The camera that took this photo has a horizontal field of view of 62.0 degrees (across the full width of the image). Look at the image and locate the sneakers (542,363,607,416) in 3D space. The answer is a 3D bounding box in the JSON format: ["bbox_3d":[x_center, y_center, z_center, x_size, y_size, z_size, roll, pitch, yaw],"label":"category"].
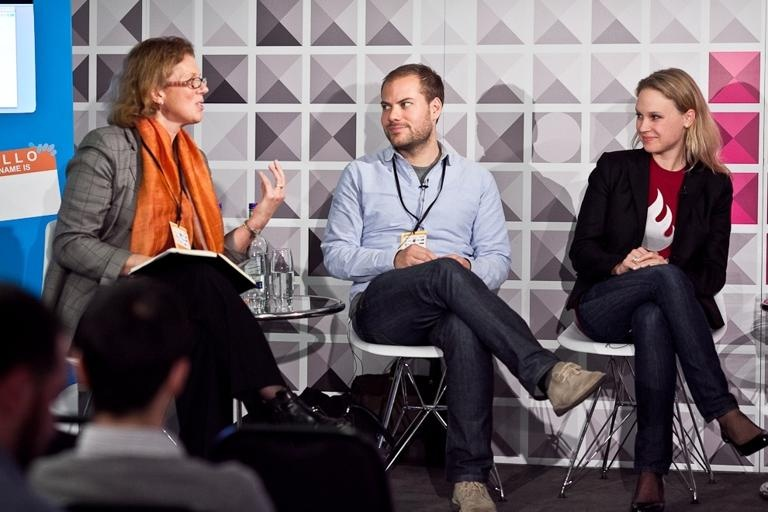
[{"bbox_3d":[0.713,0.495,2.391,0.146,0.108,0.232,-50,18,-27],"label":"sneakers"}]

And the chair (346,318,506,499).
[{"bbox_3d":[0.183,0.656,3.306,0.799,1.144,0.697,-1,-1,15],"label":"chair"}]

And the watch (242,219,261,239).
[{"bbox_3d":[-0.625,-0.140,2.976,0.083,0.038,0.074,48,10,34],"label":"watch"}]

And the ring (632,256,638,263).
[{"bbox_3d":[1.113,0.013,2.824,0.022,0.021,0.005,5,-12,11],"label":"ring"}]

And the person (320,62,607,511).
[{"bbox_3d":[0.286,0.073,2.861,0.828,1.919,1.333,-3,10,-27],"label":"person"}]
